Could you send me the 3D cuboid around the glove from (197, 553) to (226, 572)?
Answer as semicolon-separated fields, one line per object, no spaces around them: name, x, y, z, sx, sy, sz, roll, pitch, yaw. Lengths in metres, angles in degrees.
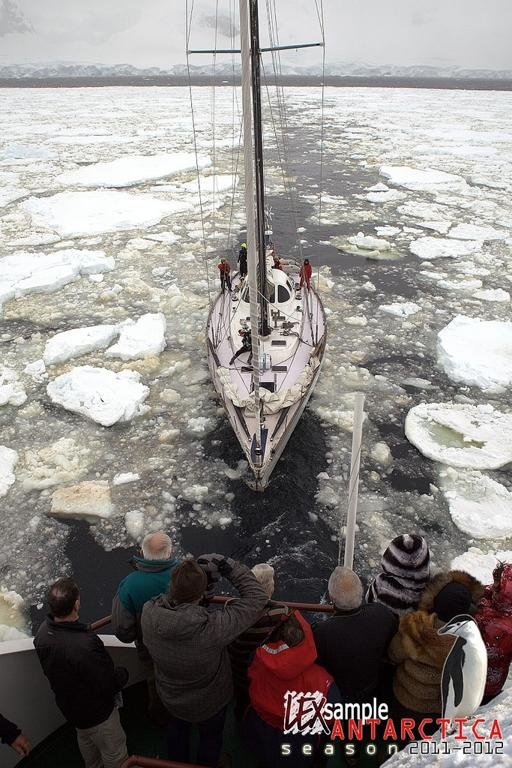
glove;-0.194;0.741;2.364;0.099;0.048;0.074;12;17;30
